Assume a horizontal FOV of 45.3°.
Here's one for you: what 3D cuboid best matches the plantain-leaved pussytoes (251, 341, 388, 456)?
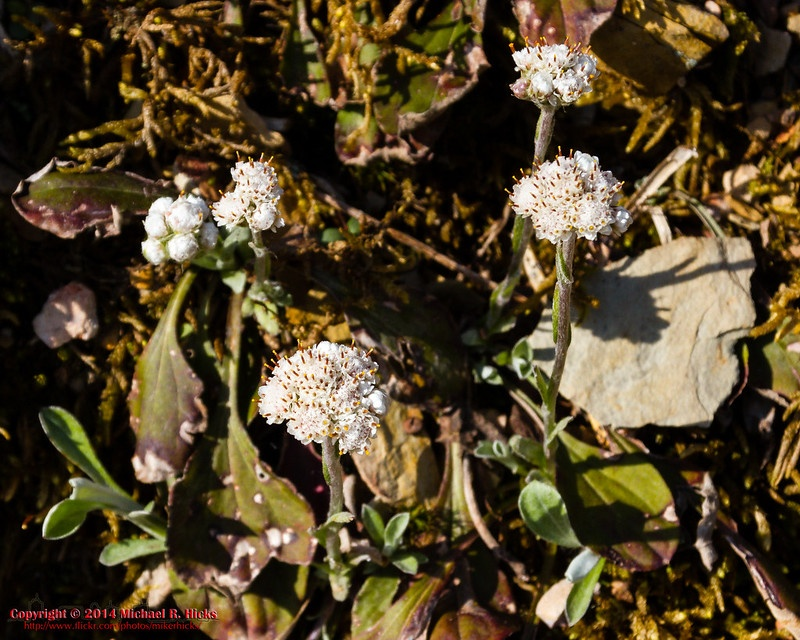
[{"bbox_3d":[-0.153,0.135,1.953,0.226,0.136,0.233,29,67,16],"label":"plantain-leaved pussytoes"}]

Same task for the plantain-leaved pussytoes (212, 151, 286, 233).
[{"bbox_3d":[-0.321,-0.267,2.065,0.086,0.161,0.145,-12,39,-17],"label":"plantain-leaved pussytoes"}]

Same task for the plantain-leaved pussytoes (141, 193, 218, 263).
[{"bbox_3d":[-0.483,-0.197,2.126,0.131,0.152,0.098,-20,87,-43],"label":"plantain-leaved pussytoes"}]

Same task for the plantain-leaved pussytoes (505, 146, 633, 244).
[{"bbox_3d":[0.343,-0.250,1.871,0.185,0.108,0.203,4,86,3],"label":"plantain-leaved pussytoes"}]

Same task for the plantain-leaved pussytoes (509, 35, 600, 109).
[{"bbox_3d":[0.317,-0.511,1.995,0.181,0.110,0.152,-19,84,-3],"label":"plantain-leaved pussytoes"}]
